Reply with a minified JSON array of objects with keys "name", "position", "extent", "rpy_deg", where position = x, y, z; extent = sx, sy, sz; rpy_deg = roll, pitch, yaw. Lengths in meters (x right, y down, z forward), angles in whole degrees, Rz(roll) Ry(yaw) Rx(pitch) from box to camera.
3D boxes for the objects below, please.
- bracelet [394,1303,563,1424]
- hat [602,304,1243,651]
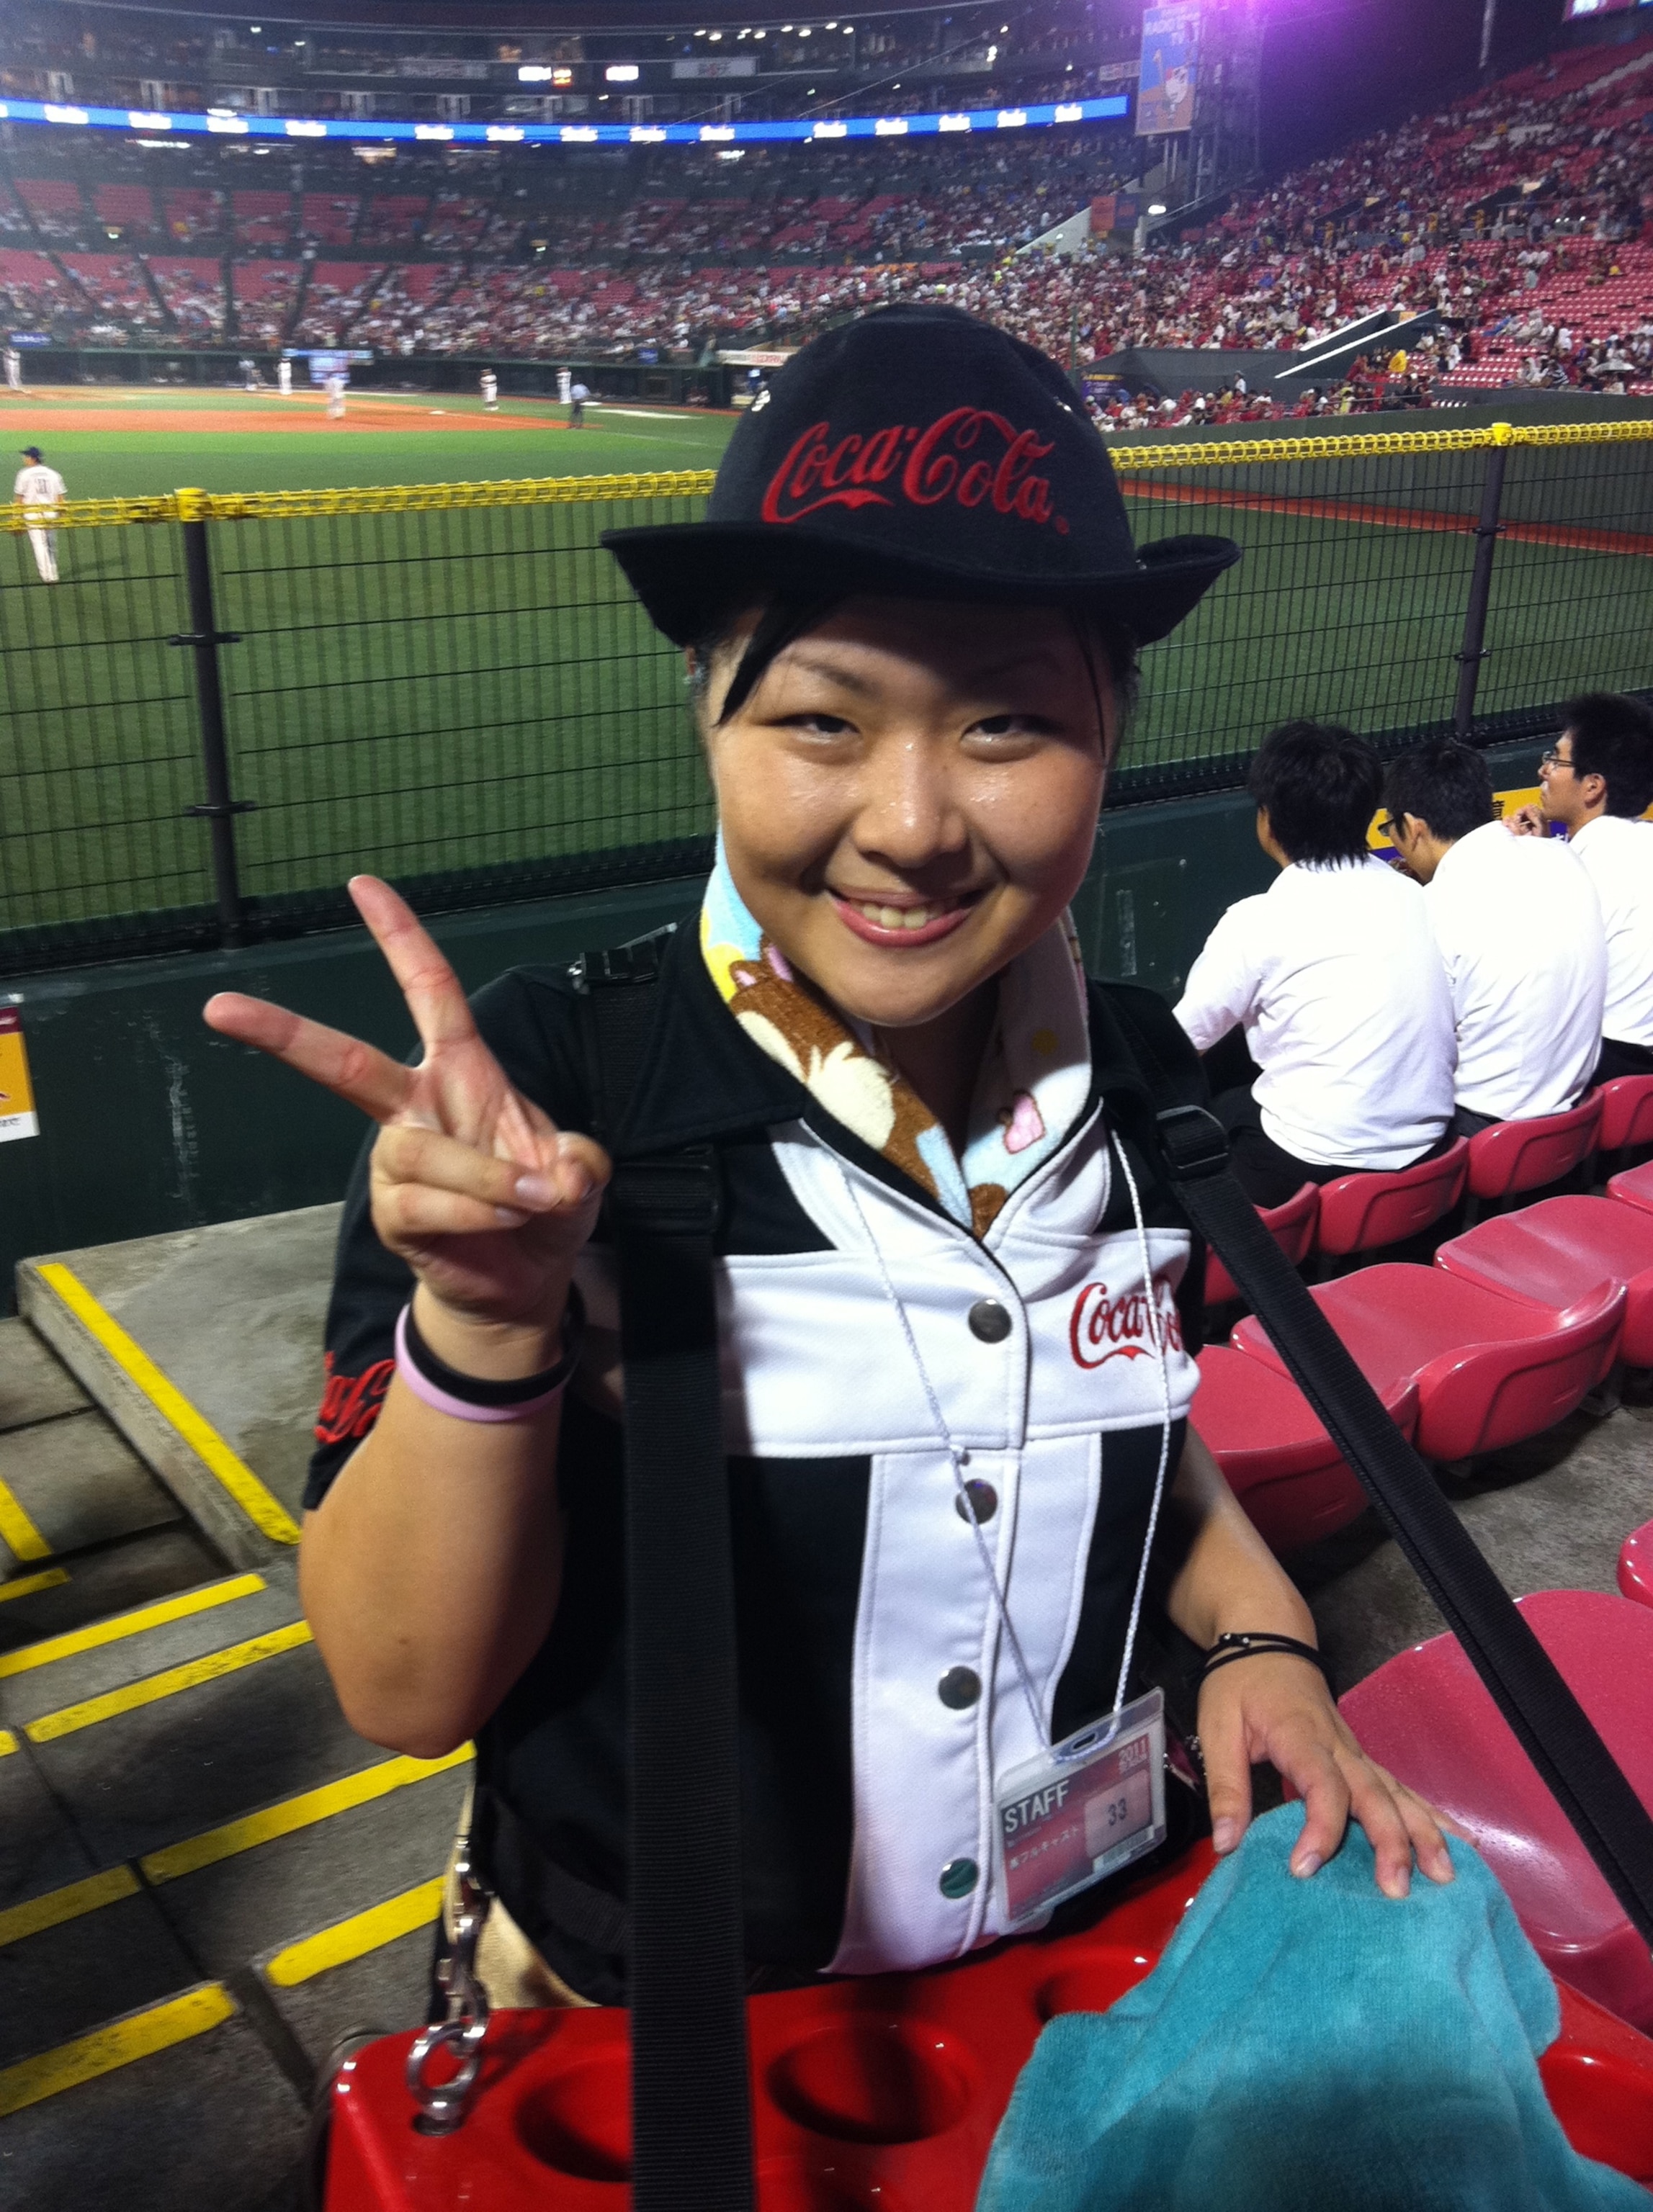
[{"name":"bracelet","position":[-0.190,0.147,0.871],"extent":[0.078,0.025,0.068],"rpy_deg":[13,0,-21]},{"name":"hat","position":[0.087,-0.403,1.031],"extent":[0.463,0.226,0.283],"rpy_deg":[-6,24,-12]}]
